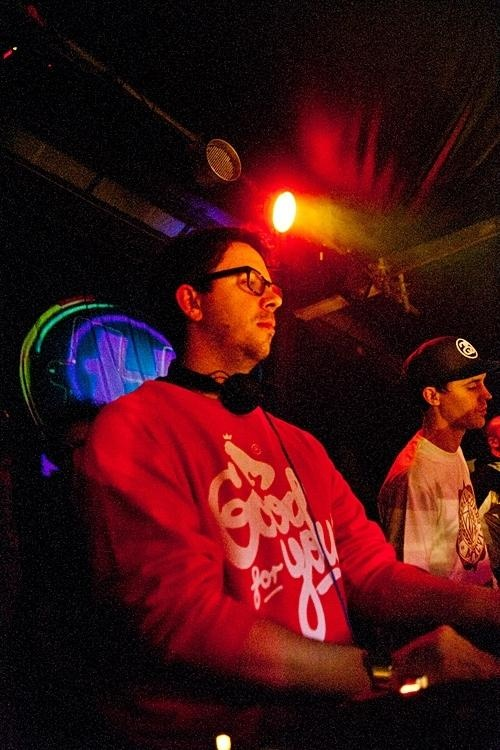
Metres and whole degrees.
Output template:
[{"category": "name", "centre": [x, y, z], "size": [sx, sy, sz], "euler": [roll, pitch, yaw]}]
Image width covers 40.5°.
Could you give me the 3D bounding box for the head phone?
[{"category": "head phone", "centre": [-0.125, 0.045, 2.538], "size": [0.280, 0.096, 0.222], "euler": [22, -1, -4]}]

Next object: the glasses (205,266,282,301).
[{"category": "glasses", "centre": [-0.040, -0.368, 2.669], "size": [0.160, 0.042, 0.164], "euler": [-1, -22, 34]}]

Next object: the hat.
[{"category": "hat", "centre": [1.074, -0.085, 3.610], "size": [0.476, 0.229, 0.383], "euler": [-23, -2, 41]}]

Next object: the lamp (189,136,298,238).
[{"category": "lamp", "centre": [0.033, -0.886, 3.260], "size": [0.598, 0.116, 0.258], "euler": [41, -50, -5]}]
